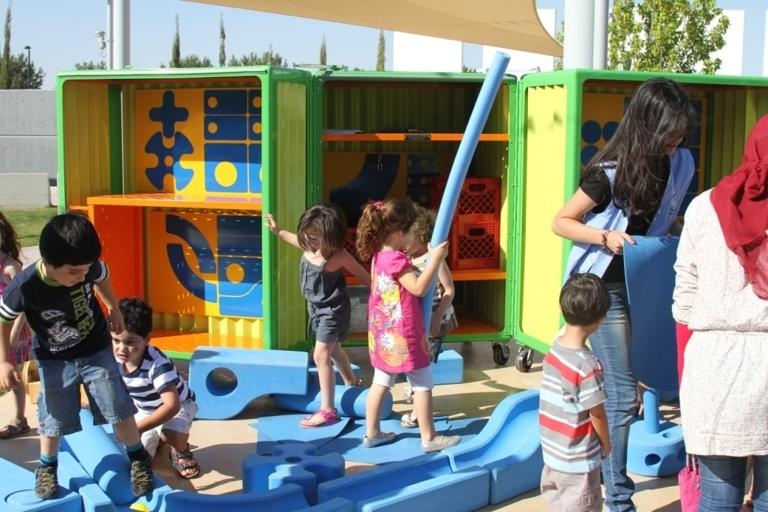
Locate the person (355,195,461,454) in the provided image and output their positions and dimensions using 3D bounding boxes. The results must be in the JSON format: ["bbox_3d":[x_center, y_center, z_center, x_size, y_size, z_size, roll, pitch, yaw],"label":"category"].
[{"bbox_3d":[0.125,0.418,4.472,0.716,1.490,0.362,4,8,37],"label":"person"}]

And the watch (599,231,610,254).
[{"bbox_3d":[1.087,-0.078,3.773,0.029,0.083,0.062,5,-4,-3],"label":"watch"}]

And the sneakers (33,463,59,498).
[{"bbox_3d":[-1.733,1.155,3.900,0.109,0.139,0.299,14,1,-30],"label":"sneakers"}]

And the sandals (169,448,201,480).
[{"bbox_3d":[-1.151,1.194,4.404,0.153,0.135,0.234,-4,7,-26],"label":"sandals"}]

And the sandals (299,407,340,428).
[{"bbox_3d":[-0.409,1.029,4.857,0.196,0.081,0.112,2,-3,-28],"label":"sandals"}]

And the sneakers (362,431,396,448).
[{"bbox_3d":[-0.035,1.107,4.653,0.204,0.084,0.080,-6,10,-36],"label":"sneakers"}]

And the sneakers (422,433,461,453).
[{"bbox_3d":[0.330,1.098,4.477,0.239,0.101,0.088,-8,5,-25],"label":"sneakers"}]
